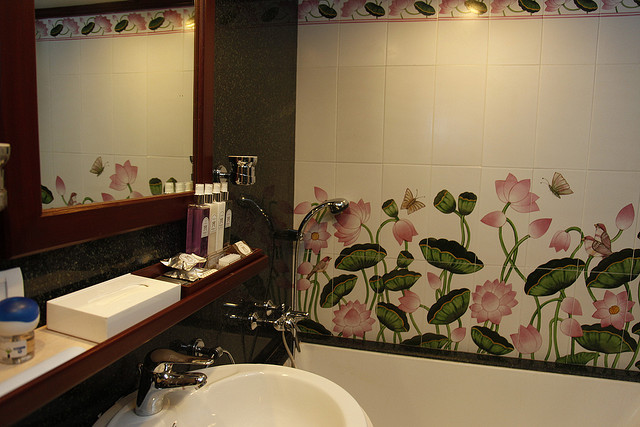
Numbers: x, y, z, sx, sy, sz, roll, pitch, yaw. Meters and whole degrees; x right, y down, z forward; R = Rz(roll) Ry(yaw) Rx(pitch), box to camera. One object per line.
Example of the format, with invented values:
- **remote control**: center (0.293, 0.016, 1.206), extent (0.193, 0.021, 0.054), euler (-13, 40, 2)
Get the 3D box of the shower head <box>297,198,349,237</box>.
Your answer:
- **shower head**: center (0.021, 0.022, 2.667), extent (0.285, 0.203, 0.134), euler (0, 9, 2)
